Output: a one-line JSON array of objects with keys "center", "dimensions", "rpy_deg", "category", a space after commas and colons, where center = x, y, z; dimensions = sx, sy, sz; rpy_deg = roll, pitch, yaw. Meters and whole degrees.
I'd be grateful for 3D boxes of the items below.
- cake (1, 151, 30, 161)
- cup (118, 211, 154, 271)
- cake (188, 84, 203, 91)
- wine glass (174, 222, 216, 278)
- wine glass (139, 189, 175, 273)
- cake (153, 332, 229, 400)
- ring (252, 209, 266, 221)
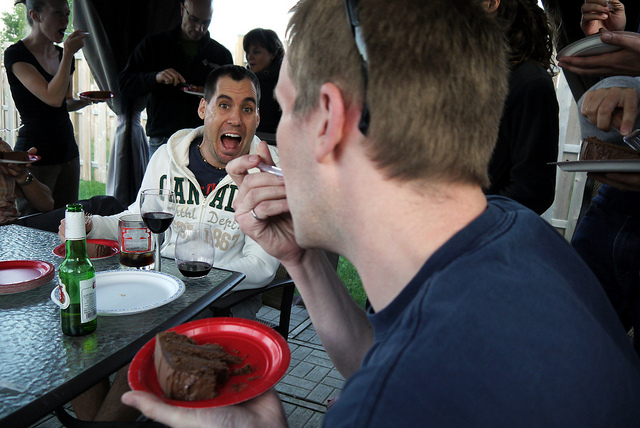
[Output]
[{"center": [-1.918, -0.374, 2.788], "dimensions": [0.146, 0.050, 0.244], "rpy_deg": [-6, 13, -34], "category": "cake"}, {"center": [-0.835, 0.119, 2.022], "dimensions": [0.132, 0.265, 0.151], "rpy_deg": [9, 14, 20], "category": "cup"}, {"center": [-1.173, -1.178, 4.145], "dimensions": [0.113, 0.061, 0.151], "rpy_deg": [-5, 18, -23], "category": "cake"}, {"center": [-0.598, 0.179, 2.075], "dimensions": [0.202, 0.279, 0.210], "rpy_deg": [-1, -4, 22], "category": "wine glass"}, {"center": [-0.793, 0.123, 2.144], "dimensions": [0.160, 0.465, 0.171], "rpy_deg": [2, 17, -3], "category": "wine glass"}, {"center": [-0.372, 0.443, 1.371], "dimensions": [0.185, 0.156, 0.213], "rpy_deg": [-7, 14, -40], "category": "cake"}, {"center": [-0.215, -0.003, 1.564], "dimensions": [0.039, 0.040, 0.009], "rpy_deg": [37, 54, 17], "category": "ring"}]
